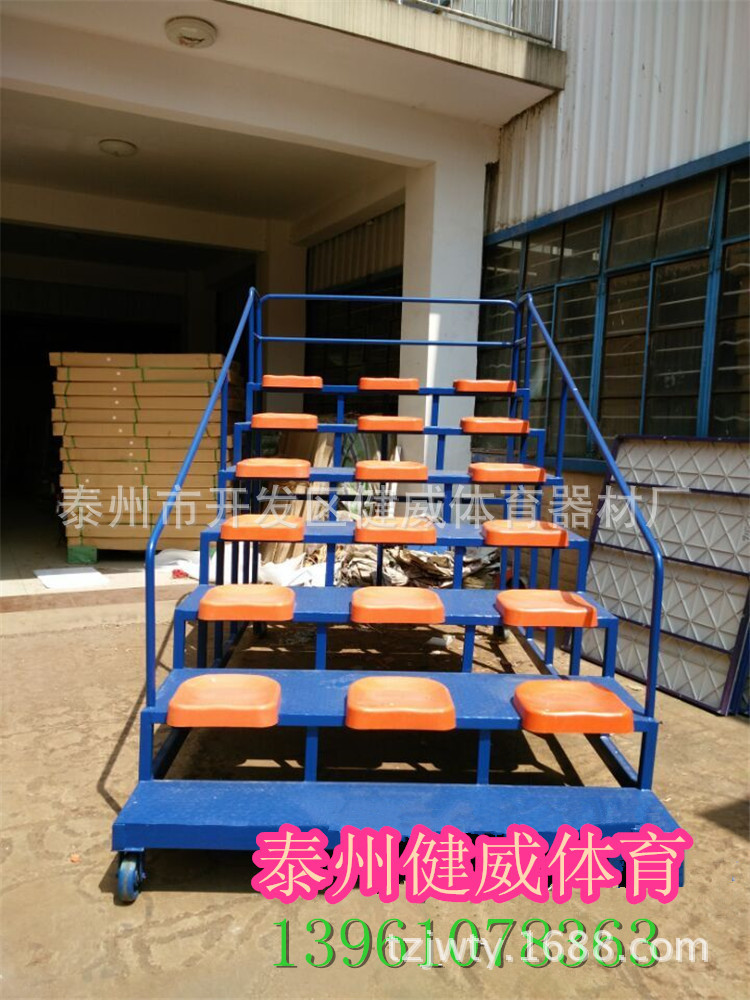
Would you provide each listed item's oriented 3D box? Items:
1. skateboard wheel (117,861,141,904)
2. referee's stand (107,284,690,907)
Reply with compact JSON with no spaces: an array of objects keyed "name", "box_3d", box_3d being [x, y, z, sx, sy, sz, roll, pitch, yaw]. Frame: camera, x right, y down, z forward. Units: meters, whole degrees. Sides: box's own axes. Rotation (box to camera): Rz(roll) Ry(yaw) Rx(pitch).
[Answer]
[{"name":"skateboard wheel","box_3d":[-0.671,1.041,2.115,0.063,0.096,0.084,3,51,-2]},{"name":"referee's stand","box_3d":[0.191,0.189,4.094,2.084,2.256,3.885,1,8,0]}]
